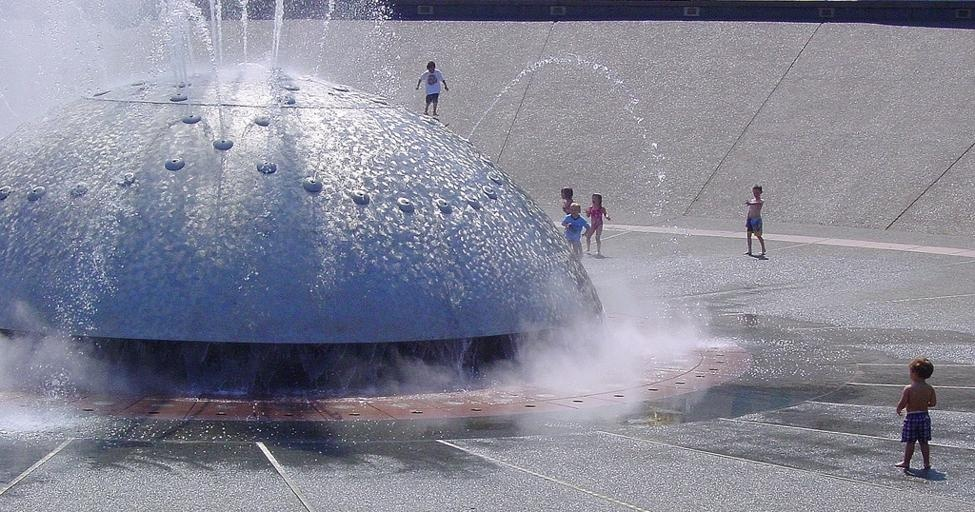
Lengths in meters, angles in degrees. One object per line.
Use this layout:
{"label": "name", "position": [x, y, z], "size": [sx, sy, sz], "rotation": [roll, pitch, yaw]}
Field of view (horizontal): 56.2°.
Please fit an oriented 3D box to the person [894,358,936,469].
{"label": "person", "position": [5.666, 2.034, 12.041], "size": [0.501, 1.385, 1.138], "rotation": [9, 11, 24]}
